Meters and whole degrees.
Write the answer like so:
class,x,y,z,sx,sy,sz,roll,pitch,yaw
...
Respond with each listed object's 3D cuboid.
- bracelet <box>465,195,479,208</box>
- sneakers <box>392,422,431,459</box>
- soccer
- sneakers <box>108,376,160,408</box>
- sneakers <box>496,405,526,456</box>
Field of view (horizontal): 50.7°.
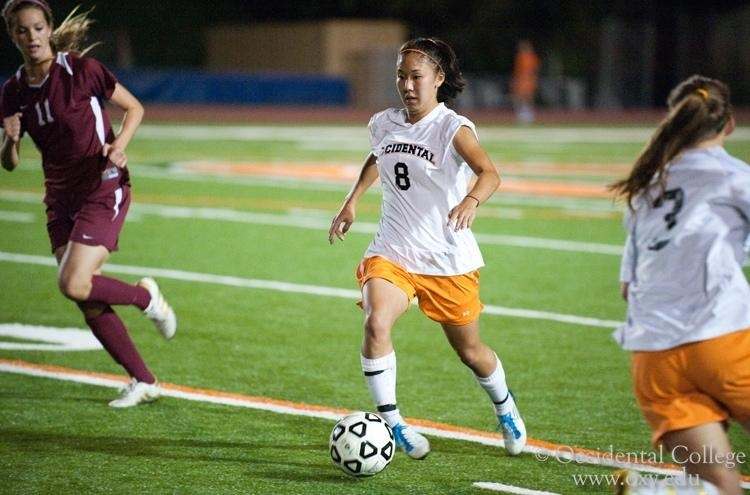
class,x,y,z,sx,sy,sz,roll,pitch,yaw
bracelet,0.582,-0.284,4.762,0.070,0.017,0.073,40,12,-2
sneakers,0.205,1.213,4.978,0.129,0.146,0.355,-5,7,-41
soccer,-0.090,1.212,4.885,0.389,0.386,0.380,-10,-2,43
sneakers,-1.667,1.030,5.715,0.462,0.191,0.150,-5,11,-10
sneakers,0.908,1.187,5.075,0.133,0.346,0.163,-25,-19,34
